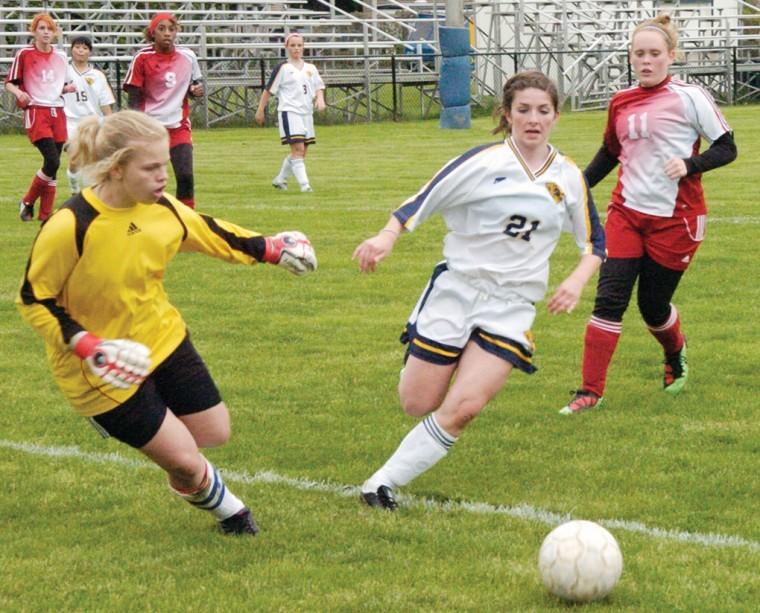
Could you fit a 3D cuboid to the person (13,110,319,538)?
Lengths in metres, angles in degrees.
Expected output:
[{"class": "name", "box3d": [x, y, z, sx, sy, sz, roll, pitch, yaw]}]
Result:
[{"class": "person", "box3d": [-0.990, 0.137, 4.264, 1.093, 1.938, 0.577, -4, 14, -21]}]

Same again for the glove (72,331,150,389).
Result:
[{"class": "glove", "box3d": [-1.104, 0.198, 3.993, 0.274, 0.124, 0.207, 28, 35, 17]}]

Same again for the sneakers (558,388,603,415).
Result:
[{"class": "sneakers", "box3d": [1.268, 0.614, 6.234, 0.334, 0.134, 0.111, -6, 3, -38]}]

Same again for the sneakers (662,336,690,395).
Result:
[{"class": "sneakers", "box3d": [1.980, 0.399, 6.523, 0.158, 0.371, 0.124, 14, -12, -32]}]

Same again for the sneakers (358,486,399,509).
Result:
[{"class": "sneakers", "box3d": [-0.007, 0.935, 4.853, 0.171, 0.077, 0.091, 16, 8, 41]}]

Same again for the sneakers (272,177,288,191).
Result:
[{"class": "sneakers", "box3d": [-1.421, -1.716, 13.772, 0.146, 0.184, 0.192, 4, 9, -4]}]

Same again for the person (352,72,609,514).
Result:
[{"class": "person", "box3d": [0.520, -0.092, 4.893, 1.303, 2.126, 0.535, -4, 14, -23]}]

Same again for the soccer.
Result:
[{"class": "soccer", "box3d": [0.832, 1.044, 4.140, 0.311, 0.327, 0.322, 20, -12, -33]}]

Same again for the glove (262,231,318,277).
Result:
[{"class": "glove", "box3d": [-0.440, -0.256, 4.675, 0.238, 0.170, 0.112, 7, -13, -20]}]

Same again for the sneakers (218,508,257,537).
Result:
[{"class": "sneakers", "box3d": [-0.660, 1.020, 4.618, 0.148, 0.128, 0.125, -24, 3, 8]}]
